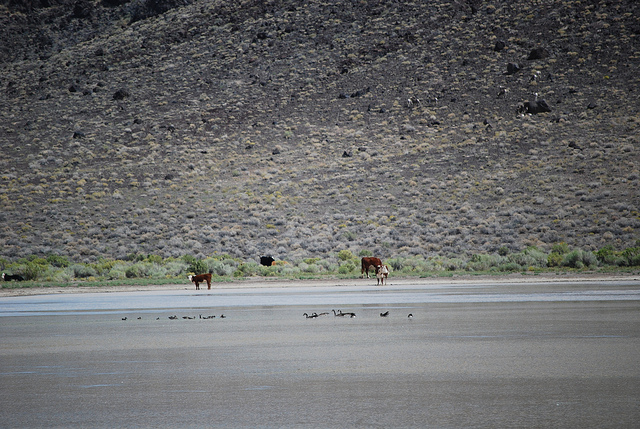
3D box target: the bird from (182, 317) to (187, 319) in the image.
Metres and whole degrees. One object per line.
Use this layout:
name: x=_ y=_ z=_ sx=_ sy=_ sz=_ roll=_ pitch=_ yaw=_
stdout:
bird: x=-8.769 y=6.669 z=70.116 sx=0.282 sy=0.230 sz=0.168 roll=-4 pitch=66 yaw=4

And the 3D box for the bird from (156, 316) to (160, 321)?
bird: x=-10.534 y=6.724 z=70.093 sx=0.382 sy=0.187 sz=0.272 roll=2 pitch=90 yaw=14

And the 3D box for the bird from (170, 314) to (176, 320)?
bird: x=-9.579 y=6.645 z=70.272 sx=0.175 sy=0.549 sz=0.236 roll=0 pitch=96 yaw=-27

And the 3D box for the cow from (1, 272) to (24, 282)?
cow: x=-25.742 y=5.244 z=90.110 sx=1.778 sy=0.950 sz=0.792 roll=9 pitch=67 yaw=10

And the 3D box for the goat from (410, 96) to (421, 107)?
goat: x=10.817 y=-12.766 z=123.674 sx=0.948 sy=0.377 sz=1.399 roll=-16 pitch=62 yaw=-3
